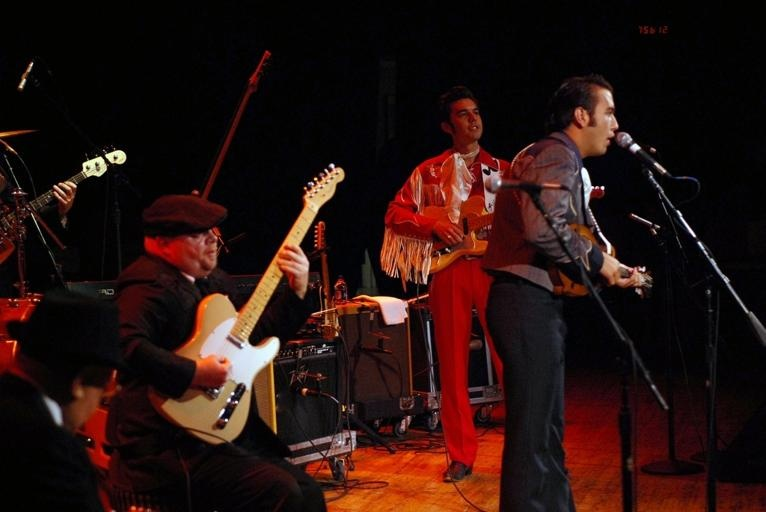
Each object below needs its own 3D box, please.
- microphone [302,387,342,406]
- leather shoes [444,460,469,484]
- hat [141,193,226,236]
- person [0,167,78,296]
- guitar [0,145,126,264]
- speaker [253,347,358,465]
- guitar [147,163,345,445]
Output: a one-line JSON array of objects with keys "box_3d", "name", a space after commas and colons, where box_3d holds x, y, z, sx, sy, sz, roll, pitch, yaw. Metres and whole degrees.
[{"box_3d": [-0.434, 0.965, 4.322, 0.064, 0.042, 0.379, -24, -28, 29], "name": "microphone"}, {"box_3d": [0.499, 1.489, 4.331, 0.090, 0.104, 0.225, -9, -13, 35], "name": "leather shoes"}, {"box_3d": [-0.953, -0.193, 2.985, 0.279, 0.110, 0.224, -9, 16, -2], "name": "hat"}, {"box_3d": [-2.651, -0.187, 4.805, 0.488, 1.020, 1.270, 5, -9, -24], "name": "person"}, {"box_3d": [-2.599, -0.415, 5.078, 0.394, 1.032, 0.141, 53, -10, -31], "name": "guitar"}, {"box_3d": [-0.594, 0.998, 4.469, 0.672, 0.774, 0.610, -3, 5, -20], "name": "speaker"}, {"box_3d": [-0.558, 0.185, 3.103, 0.549, 1.527, 0.158, 38, -24, -23], "name": "guitar"}]
